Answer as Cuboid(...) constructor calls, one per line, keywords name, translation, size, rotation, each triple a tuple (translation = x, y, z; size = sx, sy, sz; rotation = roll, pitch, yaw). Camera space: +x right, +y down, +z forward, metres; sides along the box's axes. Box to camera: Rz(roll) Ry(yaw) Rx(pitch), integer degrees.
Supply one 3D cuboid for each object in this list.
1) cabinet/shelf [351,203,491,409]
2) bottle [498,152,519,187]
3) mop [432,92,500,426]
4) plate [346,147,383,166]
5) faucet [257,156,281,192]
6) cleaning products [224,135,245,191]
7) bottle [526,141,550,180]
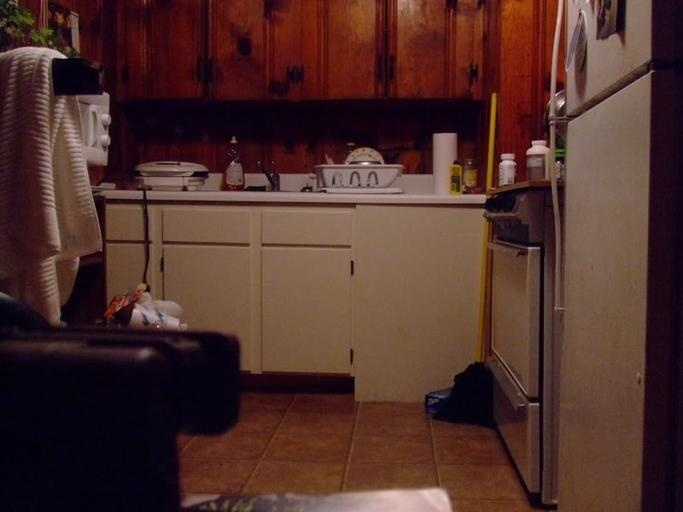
Cuboid(name="cabinet/shelf", translation=(0.368, 0.170, 3.293), size=(0.631, 1.362, 0.830), rotation=(1, 3, 5))
Cuboid(name="bottle", translation=(0.653, -0.343, 2.454), size=(0.060, 0.121, 0.095), rotation=(2, 7, 13))
Cuboid(name="mop", translation=(0.489, 0.140, 2.505), size=(0.216, 1.547, 0.245), rotation=(1, 7, 8))
Cuboid(name="plate", translation=(0.148, -0.536, 3.267), size=(0.209, 0.081, 0.261), rotation=(-2, 8, -18))
Cuboid(name="faucet", translation=(-0.384, -0.436, 3.336), size=(0.122, 0.164, 0.195), rotation=(-1, 7, -6))
Cuboid(name="cleaning products", translation=(-0.572, -0.505, 3.344), size=(0.112, 0.290, 0.203), rotation=(-1, 7, -11))
Cuboid(name="bottle", translation=(0.696, -0.347, 2.219), size=(0.074, 0.144, 0.234), rotation=(2, 7, 15))
